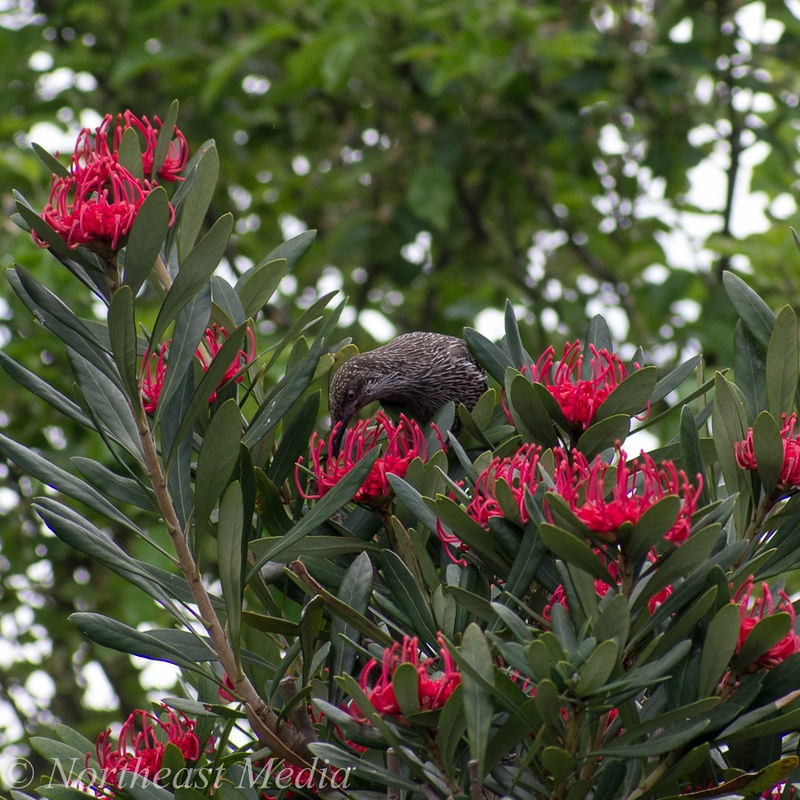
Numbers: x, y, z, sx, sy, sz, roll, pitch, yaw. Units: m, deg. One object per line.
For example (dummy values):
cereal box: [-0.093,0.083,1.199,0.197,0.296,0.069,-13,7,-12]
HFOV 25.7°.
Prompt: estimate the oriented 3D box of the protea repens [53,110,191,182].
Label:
protea repens: [-0.602,-0.581,3.888,0.302,0.257,0.193,6,88,-12]

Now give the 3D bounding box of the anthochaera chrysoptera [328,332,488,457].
anthochaera chrysoptera: [0.027,-0.011,5.226,0.382,0.337,0.453,2,90,-30]
